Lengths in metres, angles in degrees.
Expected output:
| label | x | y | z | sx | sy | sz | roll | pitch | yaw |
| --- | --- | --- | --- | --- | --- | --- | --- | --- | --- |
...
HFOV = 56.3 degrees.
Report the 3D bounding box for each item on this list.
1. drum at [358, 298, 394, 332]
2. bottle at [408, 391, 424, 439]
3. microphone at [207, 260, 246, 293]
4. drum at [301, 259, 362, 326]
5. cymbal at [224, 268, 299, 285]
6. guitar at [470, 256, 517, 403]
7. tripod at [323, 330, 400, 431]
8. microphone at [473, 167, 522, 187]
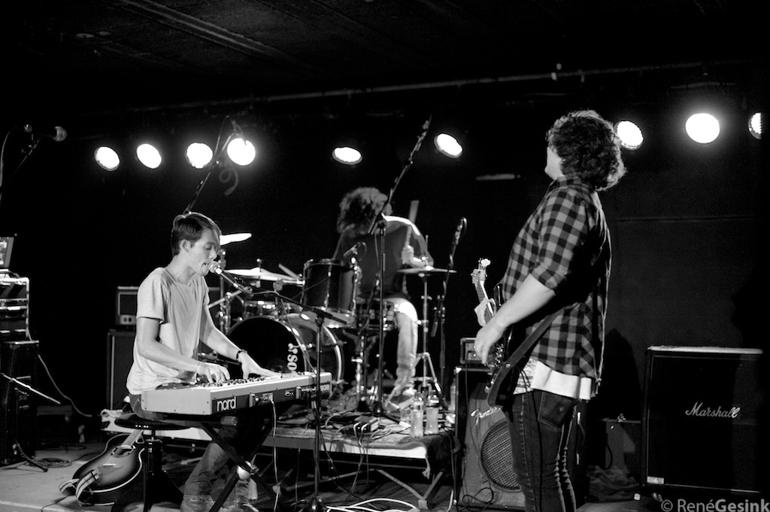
| label | x | y | z | sx | sy | sz | roll | pitch | yaw |
| --- | --- | --- | --- | --- | --- | --- | --- | --- | --- |
| drum | -0.074 | 0.554 | 6.747 | 0.271 | 0.191 | 0.350 | 2 | -5 | -4 |
| bottle | 0.286 | 1.416 | 6.352 | 0.118 | 0.320 | 0.352 | 2 | -9 | 2 |
| microphone | -1.551 | 0.211 | 7.017 | 0.107 | 0.397 | 0.116 | -42 | 6 | 28 |
| drum | -0.511 | 0.360 | 6.834 | 0.591 | 0.533 | 0.582 | 15 | -15 | -34 |
| cymbal | -1.210 | 0.191 | 7.232 | 0.473 | 0.092 | 0.335 | 4 | -4 | -38 |
| guitar | 0.771 | 0.527 | 5.099 | 0.211 | 0.500 | 1.278 | 28 | -16 | 25 |
| tripod | -0.207 | 1.204 | 7.220 | 0.793 | 0.797 | 0.768 | 0 | -1 | -21 |
| microphone | 1.208 | -0.838 | 7.819 | 0.655 | 0.173 | 0.141 | -6 | -28 | 22 |
